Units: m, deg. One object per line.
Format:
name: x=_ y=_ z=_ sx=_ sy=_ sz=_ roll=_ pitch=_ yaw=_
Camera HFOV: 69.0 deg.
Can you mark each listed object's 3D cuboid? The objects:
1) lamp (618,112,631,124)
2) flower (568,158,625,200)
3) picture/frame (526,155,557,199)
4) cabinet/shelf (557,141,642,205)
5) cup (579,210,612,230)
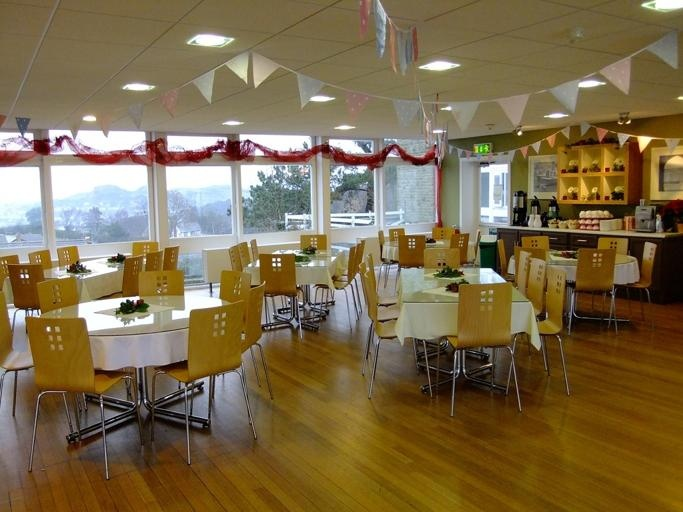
lamp: x=4.740 y=-2.319 z=8.336 sx=0.253 sy=0.241 sz=0.126 roll=-1 pitch=0 yaw=-5
flower: x=4.735 y=-1.427 z=9.159 sx=0.839 sy=0.750 sz=0.263 roll=1 pitch=1 yaw=42
picture/frame: x=4.215 y=-1.660 z=10.417 sx=0.078 sy=1.052 sz=0.961 roll=-1 pitch=2 yaw=-29
cabinet/shelf: x=4.784 y=-1.530 z=9.109 sx=0.372 sy=1.062 sz=1.228 roll=-2 pitch=3 yaw=-39
cup: x=4.652 y=-0.703 z=9.235 sx=0.396 sy=0.258 sz=0.408 roll=-1 pitch=8 yaw=0
